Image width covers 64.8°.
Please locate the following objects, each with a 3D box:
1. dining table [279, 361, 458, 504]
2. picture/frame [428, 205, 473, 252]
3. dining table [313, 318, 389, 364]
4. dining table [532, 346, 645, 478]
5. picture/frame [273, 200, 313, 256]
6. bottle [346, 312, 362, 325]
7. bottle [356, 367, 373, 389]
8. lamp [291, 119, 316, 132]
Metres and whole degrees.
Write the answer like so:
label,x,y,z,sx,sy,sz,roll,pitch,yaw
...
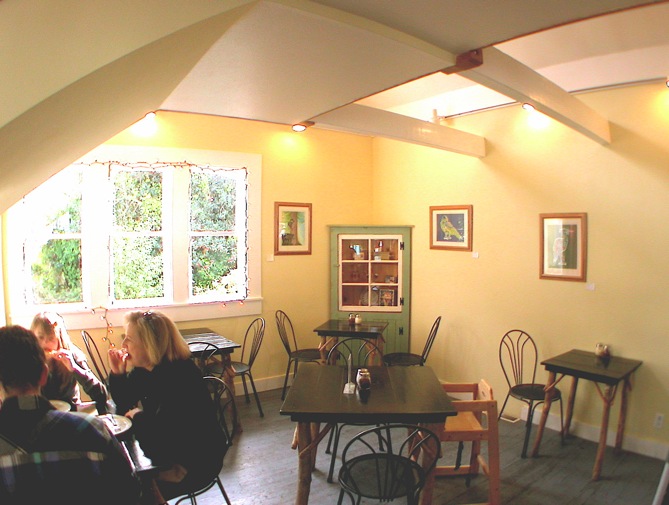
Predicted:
label,x,y,z,sx,sy,sz,roll,pitch,yaw
dining table,0.210,1.002,3.807,1.144,0.877,0.927,0,2,-5
picture/frame,1.327,-0.268,5.946,0.039,0.519,0.535,1,-1,-40
dining table,0.217,0.891,5.836,0.585,0.583,0.602,0,0,20
dining table,2.190,1.344,4.801,0.906,1.256,0.863,6,7,42
picture/frame,-0.513,-0.283,6.191,0.626,0.776,0.057,-2,4,-37
bottle,0.222,0.754,5.876,0.158,0.152,0.096,0,2,6
bottle,0.198,0.891,3.694,0.119,0.151,0.122,0,-5,0
lamp,-0.264,-1.020,4.251,0.174,0.048,0.293,0,2,-31
